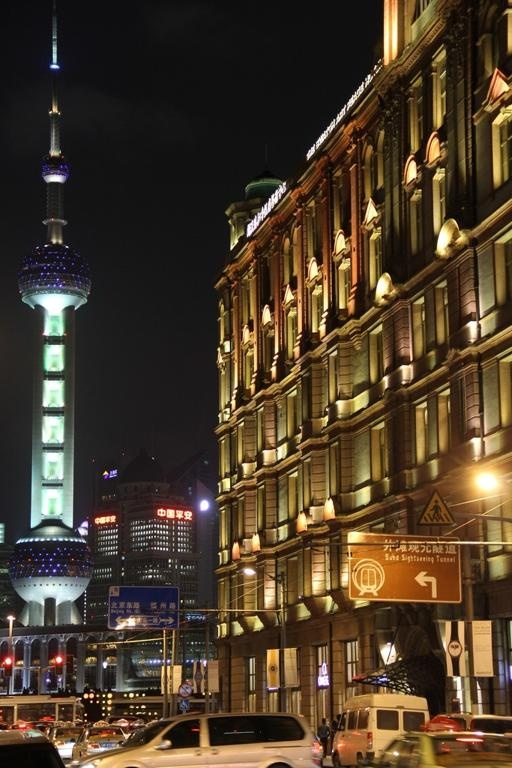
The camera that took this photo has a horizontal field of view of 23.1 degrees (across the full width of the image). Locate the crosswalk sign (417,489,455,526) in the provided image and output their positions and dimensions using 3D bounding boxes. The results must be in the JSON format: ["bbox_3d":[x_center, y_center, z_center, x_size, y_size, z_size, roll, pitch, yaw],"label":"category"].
[{"bbox_3d":[5.056,3.545,35.625,0.946,1.158,1.011,-5,-19,7],"label":"crosswalk sign"}]
